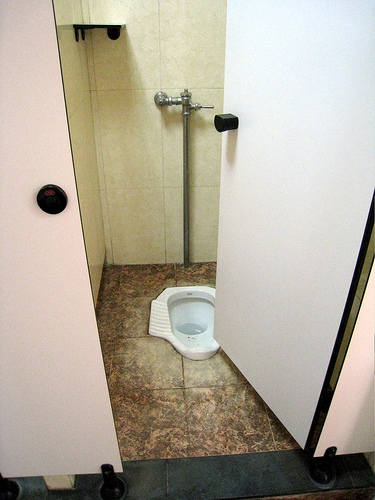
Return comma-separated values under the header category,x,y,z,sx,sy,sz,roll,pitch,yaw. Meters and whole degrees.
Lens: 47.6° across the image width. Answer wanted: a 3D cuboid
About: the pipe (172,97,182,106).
category,x,y,z,sx,sy,sz,roll,pitch,yaw
pipe,-0.042,-0.597,1.699,0.040,0.028,0.025,6,31,7
